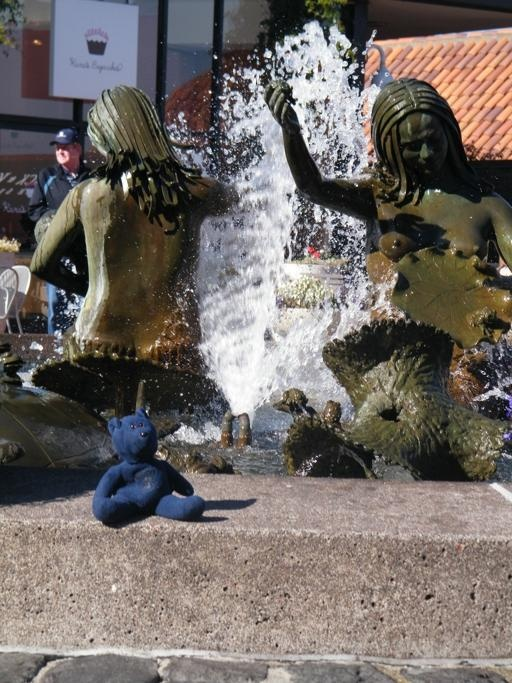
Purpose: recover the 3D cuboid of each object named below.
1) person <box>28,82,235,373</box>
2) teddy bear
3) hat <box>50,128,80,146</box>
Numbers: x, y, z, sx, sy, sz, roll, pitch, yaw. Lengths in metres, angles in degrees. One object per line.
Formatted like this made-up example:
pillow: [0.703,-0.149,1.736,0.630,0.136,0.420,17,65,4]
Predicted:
person: [-0.398,-0.369,3.851,0.653,0.841,0.376,1,16,-2]
teddy bear: [-0.281,0.328,3.188,0.251,0.327,0.258,-4,-4,-2]
hat: [-1.043,-1.112,6.661,0.105,0.098,0.158,5,5,30]
